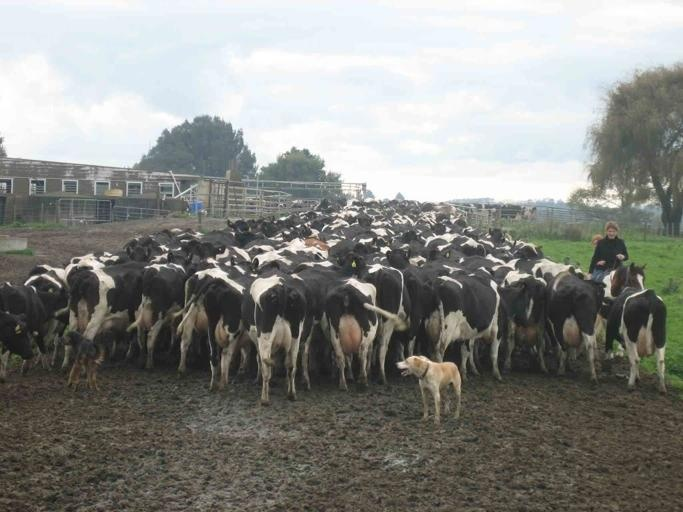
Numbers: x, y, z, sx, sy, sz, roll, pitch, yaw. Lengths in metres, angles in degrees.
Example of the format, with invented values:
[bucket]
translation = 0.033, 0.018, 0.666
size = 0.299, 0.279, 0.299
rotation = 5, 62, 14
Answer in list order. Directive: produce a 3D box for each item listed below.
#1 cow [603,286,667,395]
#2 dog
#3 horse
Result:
[cow]
translation = 5.762, 1.539, 13.368
size = 0.748, 1.938, 1.488
rotation = -3, 14, -18
[dog]
translation = 1.536, 2.162, 11.760
size = 0.976, 1.150, 1.301
rotation = 6, 14, 16
[horse]
translation = 6.160, 0.930, 16.027
size = 0.549, 1.309, 2.283
rotation = -2, -3, -21
